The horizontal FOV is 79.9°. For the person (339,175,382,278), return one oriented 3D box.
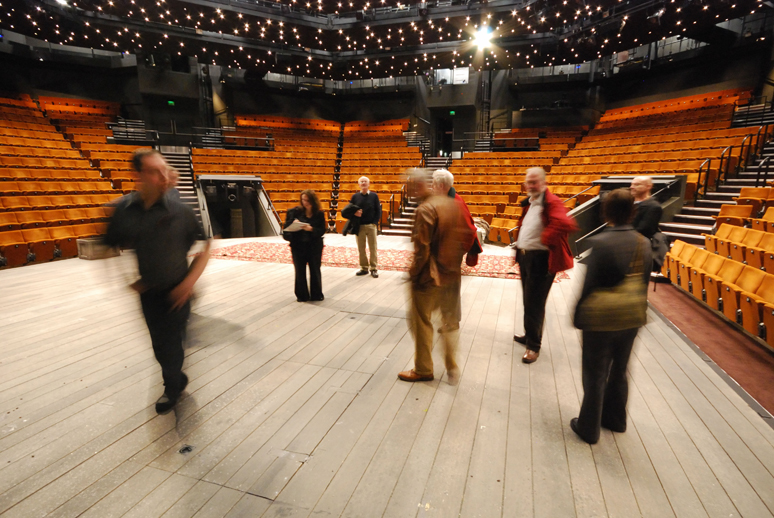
[{"bbox_3d":[-0.459,-0.550,7.948,0.636,1.679,0.990,-2,17,-2],"label":"person"}]

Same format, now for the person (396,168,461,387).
[{"bbox_3d":[0.454,0.209,4.695,0.658,2.185,0.419,2,17,9],"label":"person"}]

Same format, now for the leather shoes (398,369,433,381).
[{"bbox_3d":[0.289,1.252,4.926,0.378,0.146,0.132,5,-1,4],"label":"leather shoes"}]

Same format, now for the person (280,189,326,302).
[{"bbox_3d":[-1.183,-0.180,6.646,0.534,1.580,0.506,6,19,22],"label":"person"}]

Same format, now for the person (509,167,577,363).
[{"bbox_3d":[1.713,0.081,5.132,0.549,2.110,0.673,1,17,8],"label":"person"}]

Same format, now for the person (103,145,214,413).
[{"bbox_3d":[-2.132,0.245,4.405,0.875,2.496,0.500,-7,18,-20],"label":"person"}]

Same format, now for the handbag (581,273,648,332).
[{"bbox_3d":[1.934,0.365,3.952,0.501,0.399,0.256,0,19,9],"label":"handbag"}]
